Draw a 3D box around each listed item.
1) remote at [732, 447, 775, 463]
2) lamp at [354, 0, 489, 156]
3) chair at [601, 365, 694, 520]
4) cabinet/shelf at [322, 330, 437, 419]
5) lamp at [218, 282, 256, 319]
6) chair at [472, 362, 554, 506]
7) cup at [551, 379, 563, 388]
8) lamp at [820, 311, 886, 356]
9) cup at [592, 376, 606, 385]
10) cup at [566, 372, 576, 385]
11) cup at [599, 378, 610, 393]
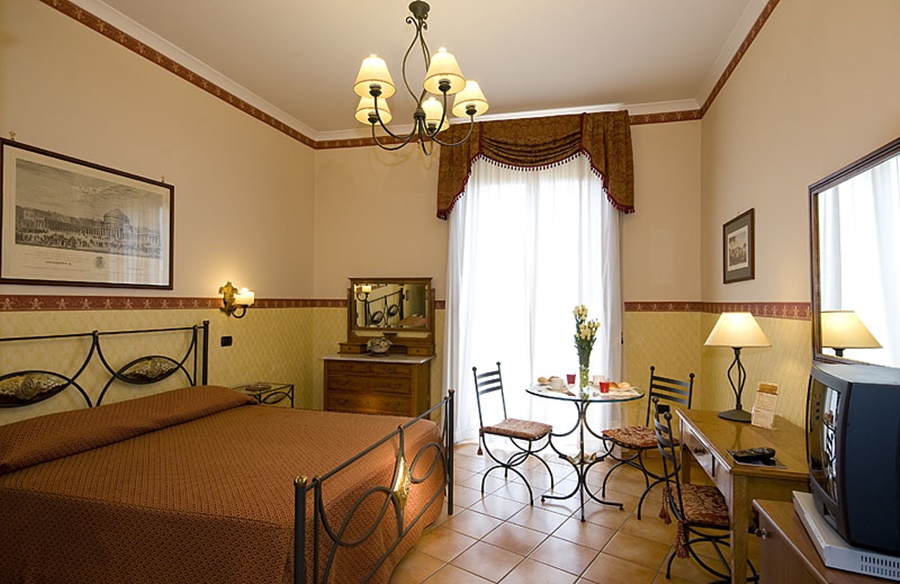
[{"bbox_3d":[2.147,1.153,4.032,0.237,0.061,0.127,-2,-1,13],"label":"remote"},{"bbox_3d":[-0.264,-2.138,5.499,1.386,1.494,1.496,1,-5,-1],"label":"lamp"},{"bbox_3d":[1.998,1.479,5.871,0.904,1.360,0.922,-1,1,-40],"label":"chair"},{"bbox_3d":[-0.935,0.914,7.519,1.277,1.163,0.755,0,-5,11],"label":"cabinet/shelf"},{"bbox_3d":[-2.478,0.089,6.671,0.319,0.443,0.315,-3,-10,-17],"label":"lamp"},{"bbox_3d":[0.708,1.490,6.260,0.857,1.356,0.874,0,-1,16],"label":"chair"},{"bbox_3d":[1.139,0.968,6.018,0.090,0.070,0.093,0,-1,0],"label":"cup"},{"bbox_3d":[2.813,0.291,4.028,0.222,0.335,0.231,-4,2,21],"label":"lamp"},{"bbox_3d":[1.594,0.934,6.076,0.115,0.091,0.086,1,-4,-18],"label":"cup"},{"bbox_3d":[1.310,0.948,6.237,0.109,0.125,0.110,-1,-2,0],"label":"cup"},{"bbox_3d":[1.593,0.977,5.907,0.100,0.122,0.118,0,-7,7],"label":"cup"}]
